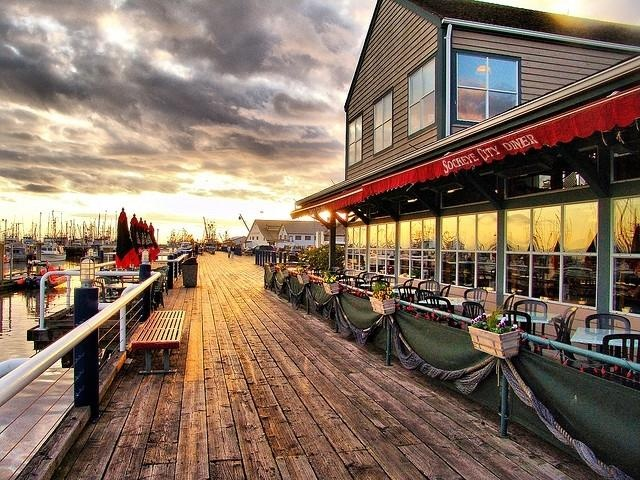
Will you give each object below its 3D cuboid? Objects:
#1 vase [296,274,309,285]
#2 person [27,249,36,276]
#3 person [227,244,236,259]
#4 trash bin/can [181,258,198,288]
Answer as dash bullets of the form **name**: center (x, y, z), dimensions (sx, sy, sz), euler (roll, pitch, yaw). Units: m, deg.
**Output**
- **vase**: center (-0.448, 1.075, 10.950), dimensions (0.237, 0.279, 0.400), euler (0, -1, -20)
- **person**: center (-26.386, 2.167, 38.181), dimensions (0.449, 1.787, 0.417), euler (5, 12, 6)
- **person**: center (-11.821, 1.691, 55.275), dimensions (0.924, 2.536, 0.739), euler (24, 34, 35)
- **trash bin/can**: center (-5.211, 1.385, 16.692), dimensions (0.569, 1.182, 0.481), euler (1, -1, -15)
